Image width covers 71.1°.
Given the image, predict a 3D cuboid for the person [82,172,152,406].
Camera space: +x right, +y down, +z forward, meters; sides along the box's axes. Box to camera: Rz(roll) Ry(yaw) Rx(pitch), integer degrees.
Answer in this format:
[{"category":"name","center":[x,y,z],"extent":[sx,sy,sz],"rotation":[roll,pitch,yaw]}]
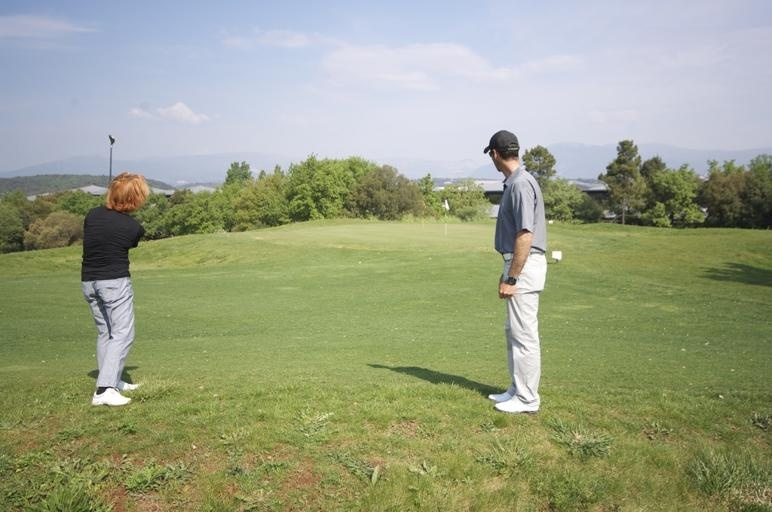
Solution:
[{"category":"person","center":[-4.499,0.513,9.013],"extent":[1.000,3.762,1.356],"rotation":[-4,8,-28]}]
